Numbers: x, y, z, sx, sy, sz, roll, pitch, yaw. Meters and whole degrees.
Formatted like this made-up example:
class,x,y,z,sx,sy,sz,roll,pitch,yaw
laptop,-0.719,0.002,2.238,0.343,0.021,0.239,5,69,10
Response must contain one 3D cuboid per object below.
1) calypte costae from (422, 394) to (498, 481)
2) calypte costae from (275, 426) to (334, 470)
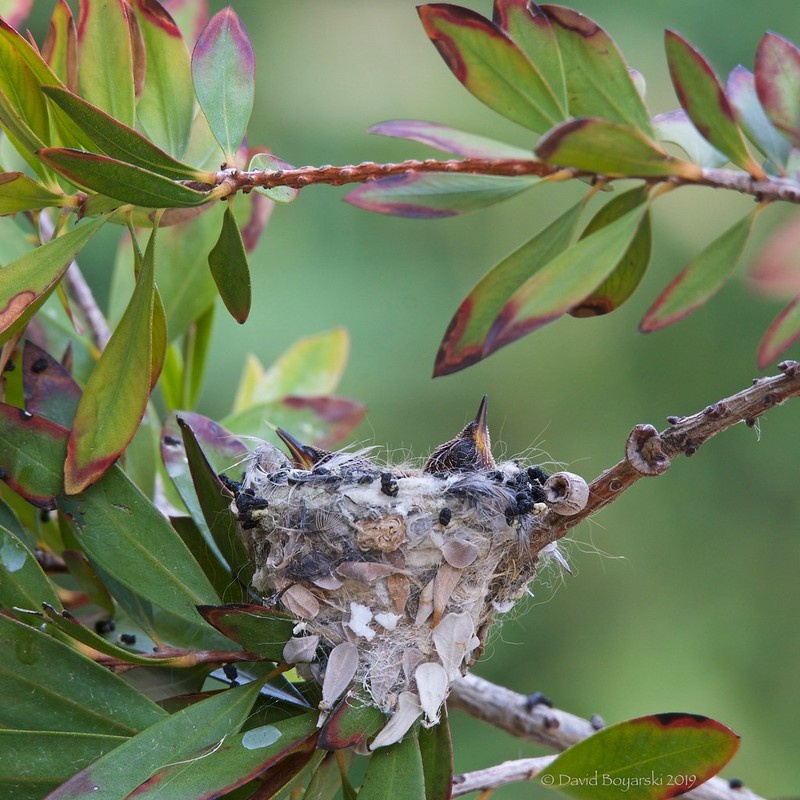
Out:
class,x,y,z,sx,sy,sz,roll,pitch,yaw
calypte costae,0.101,0.060,1.620,0.085,0.152,0.067,11,-9,11
calypte costae,-0.128,0.068,1.475,0.026,0.096,0.036,-25,-43,-34
